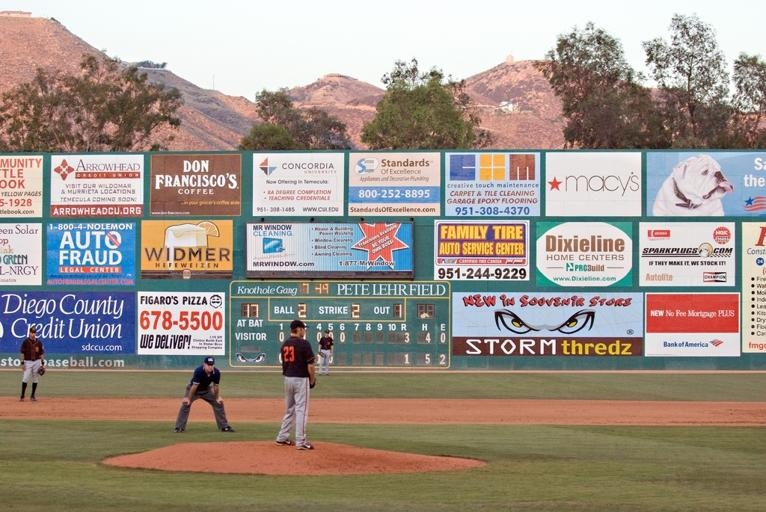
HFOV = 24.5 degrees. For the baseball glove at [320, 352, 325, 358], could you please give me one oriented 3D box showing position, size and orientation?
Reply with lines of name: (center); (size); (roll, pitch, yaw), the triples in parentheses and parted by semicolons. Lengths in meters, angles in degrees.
baseball glove: (-4.027, 6.620, 120.072); (0.340, 0.352, 0.556); (1, -4, -11)
